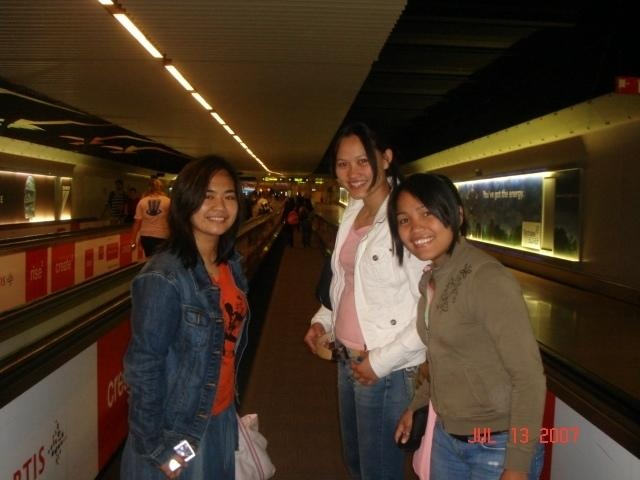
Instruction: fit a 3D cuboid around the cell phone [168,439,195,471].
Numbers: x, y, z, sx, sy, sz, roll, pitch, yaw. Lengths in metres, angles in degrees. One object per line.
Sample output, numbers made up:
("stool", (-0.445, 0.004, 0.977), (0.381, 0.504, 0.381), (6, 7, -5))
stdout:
("cell phone", (-0.663, 1.025, 1.942), (0.120, 0.086, 0.030), (-40, 14, -10))
